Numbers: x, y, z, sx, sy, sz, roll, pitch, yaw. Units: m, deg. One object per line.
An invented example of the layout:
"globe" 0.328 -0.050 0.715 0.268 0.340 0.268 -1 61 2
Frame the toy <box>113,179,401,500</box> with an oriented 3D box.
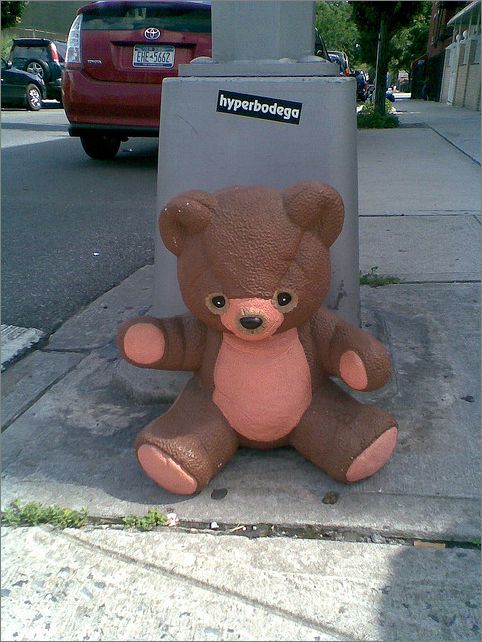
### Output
"toy" 0.032 0.058 1.477 0.726 0.847 0.456 -6 26 -11
